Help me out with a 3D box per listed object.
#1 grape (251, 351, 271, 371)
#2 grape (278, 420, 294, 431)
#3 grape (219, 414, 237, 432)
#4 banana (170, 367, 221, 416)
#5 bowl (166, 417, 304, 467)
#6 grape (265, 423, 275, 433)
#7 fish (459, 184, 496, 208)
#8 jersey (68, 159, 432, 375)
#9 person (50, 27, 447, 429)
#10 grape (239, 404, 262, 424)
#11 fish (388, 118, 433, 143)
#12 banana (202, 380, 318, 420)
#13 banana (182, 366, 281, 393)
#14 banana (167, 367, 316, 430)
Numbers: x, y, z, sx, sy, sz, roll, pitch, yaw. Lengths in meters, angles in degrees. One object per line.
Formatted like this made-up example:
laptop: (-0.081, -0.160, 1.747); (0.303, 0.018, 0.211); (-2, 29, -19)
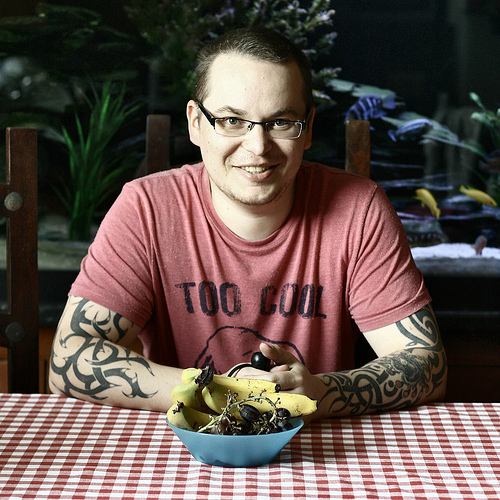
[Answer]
grape: (0.018, 0.200, 1.058); (0.040, 0.038, 0.036); (-1, 18, 5)
grape: (0.057, 0.258, 0.872); (0.019, 0.019, 0.006); (-11, 42, -15)
grape: (-0.032, 0.251, 0.861); (0.020, 0.009, 0.023); (2, 21, -17)
banana: (-0.069, 0.239, 0.970); (0.089, 0.041, 0.129); (-30, -21, -2)
bowl: (-0.014, 0.268, 0.848); (0.120, 0.025, 0.107); (-3, -6, 21)
grape: (0.030, 0.258, 0.864); (0.006, 0.005, 0.022); (-40, 0, 35)
fish: (1.211, -0.285, 3.119); (0.162, 0.064, 0.035); (27, 56, 6)
jersey: (0.022, 0.066, 1.578); (1.160, 0.648, 0.525); (-1, 4, -3)
person: (0.031, -0.074, 1.296); (0.811, 0.826, 0.645); (4, 11, 16)
grape: (0.001, 0.240, 0.871); (0.029, 0.021, 0.016); (35, 3, 6)
fish: (0.840, -0.624, 3.097); (0.230, 0.123, 0.039); (-1, 12, -13)
banana: (0.013, 0.247, 0.959); (0.192, 0.052, 0.047); (8, 1, 3)
banana: (-0.028, 0.217, 0.984); (0.152, 0.041, 0.035); (7, 29, -5)
banana: (-0.016, 0.216, 0.922); (0.205, 0.072, 0.099); (-4, 6, -1)
